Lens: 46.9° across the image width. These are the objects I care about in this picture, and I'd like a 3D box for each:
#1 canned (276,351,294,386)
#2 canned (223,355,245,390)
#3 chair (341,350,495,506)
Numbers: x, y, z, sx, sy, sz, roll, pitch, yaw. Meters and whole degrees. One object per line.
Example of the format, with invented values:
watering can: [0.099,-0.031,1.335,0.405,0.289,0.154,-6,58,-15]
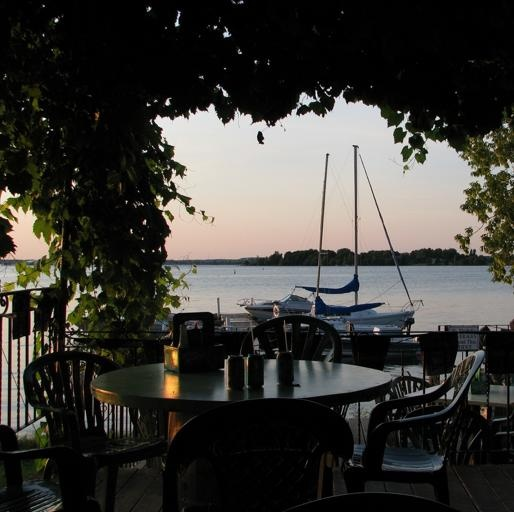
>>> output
canned: [0.122,0.489,2.585,0.093,0.213,0.108,0,-1,2]
canned: [-0.092,0.498,2.528,0.086,0.138,0.091,-1,-3,-6]
chair: [0.831,0.866,2.930,0.566,0.824,1.363,-2,-4,22]
